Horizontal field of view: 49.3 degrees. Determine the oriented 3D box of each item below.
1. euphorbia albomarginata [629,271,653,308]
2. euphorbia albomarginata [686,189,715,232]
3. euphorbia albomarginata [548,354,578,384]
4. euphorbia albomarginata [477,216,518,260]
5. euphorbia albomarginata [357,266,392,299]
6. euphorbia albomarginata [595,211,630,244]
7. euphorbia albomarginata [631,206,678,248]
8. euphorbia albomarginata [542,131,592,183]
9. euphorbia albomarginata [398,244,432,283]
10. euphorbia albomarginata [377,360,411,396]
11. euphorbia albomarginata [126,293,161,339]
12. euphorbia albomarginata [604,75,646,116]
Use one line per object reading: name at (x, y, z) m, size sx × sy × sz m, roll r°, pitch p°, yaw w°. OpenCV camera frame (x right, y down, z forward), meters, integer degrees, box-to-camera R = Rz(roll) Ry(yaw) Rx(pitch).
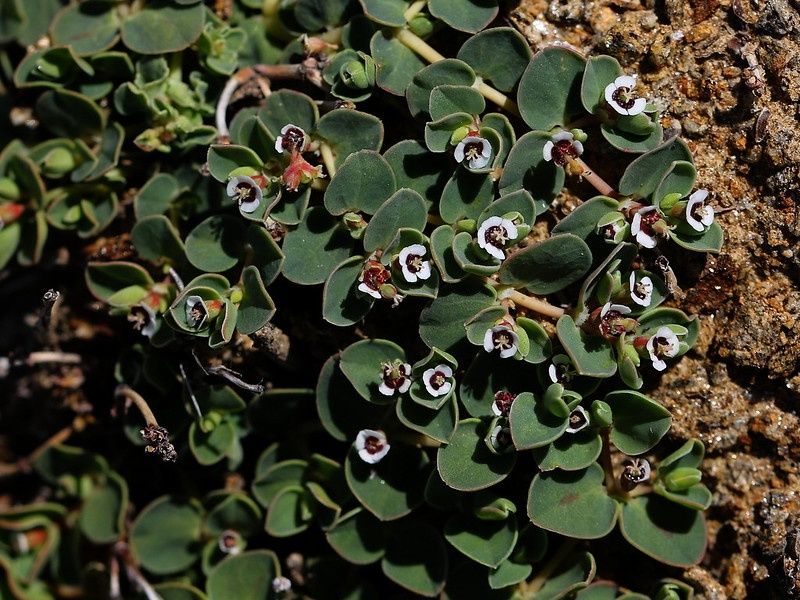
euphorbia albomarginata at (1.163, -0.037, 4.210) m, size 0.141 × 0.069 × 0.152 m, roll 19°, pitch 51°, yaw -25°
euphorbia albomarginata at (1.441, -0.417, 4.205) m, size 0.153 × 0.067 × 0.196 m, roll -17°, pitch 101°, yaw -32°
euphorbia albomarginata at (0.775, 0.337, 4.201) m, size 0.170 × 0.093 × 0.131 m, roll -3°, pitch 63°, yaw -35°
euphorbia albomarginata at (0.459, -0.292, 4.174) m, size 0.194 × 0.163 × 0.160 m, roll 27°, pitch 49°, yaw -15°
euphorbia albomarginata at (-0.129, -0.075, 4.220) m, size 0.138 × 0.138 × 0.141 m, roll 28°, pitch 49°, yaw -13°
euphorbia albomarginata at (1.023, -0.344, 4.192) m, size 0.117 × 0.092 × 0.169 m, roll 21°, pitch 75°, yaw -4°
euphorbia albomarginata at (1.211, -0.351, 4.235) m, size 0.170 × 0.076 × 0.215 m, roll 4°, pitch 104°, yaw 18°
euphorbia albomarginata at (0.833, -0.669, 4.297) m, size 0.176 × 0.083 × 0.236 m, roll -36°, pitch 85°, yaw -1°
euphorbia albomarginata at (0.073, -0.169, 4.187) m, size 0.164 × 0.139 × 0.152 m, roll -7°, pitch 64°, yaw -35°
euphorbia albomarginata at (-0.025, 0.383, 4.230) m, size 0.136 × 0.082 × 0.182 m, roll 0°, pitch 83°, yaw 13°
euphorbia albomarginata at (-1.349, 0.083, 4.560) m, size 0.188 × 0.176 × 0.077 m, roll 53°, pitch 36°, yaw 12°
euphorbia albomarginata at (1.102, -0.970, 4.276) m, size 0.197 × 0.078 × 0.184 m, roll 45°, pitch 85°, yaw -14°
